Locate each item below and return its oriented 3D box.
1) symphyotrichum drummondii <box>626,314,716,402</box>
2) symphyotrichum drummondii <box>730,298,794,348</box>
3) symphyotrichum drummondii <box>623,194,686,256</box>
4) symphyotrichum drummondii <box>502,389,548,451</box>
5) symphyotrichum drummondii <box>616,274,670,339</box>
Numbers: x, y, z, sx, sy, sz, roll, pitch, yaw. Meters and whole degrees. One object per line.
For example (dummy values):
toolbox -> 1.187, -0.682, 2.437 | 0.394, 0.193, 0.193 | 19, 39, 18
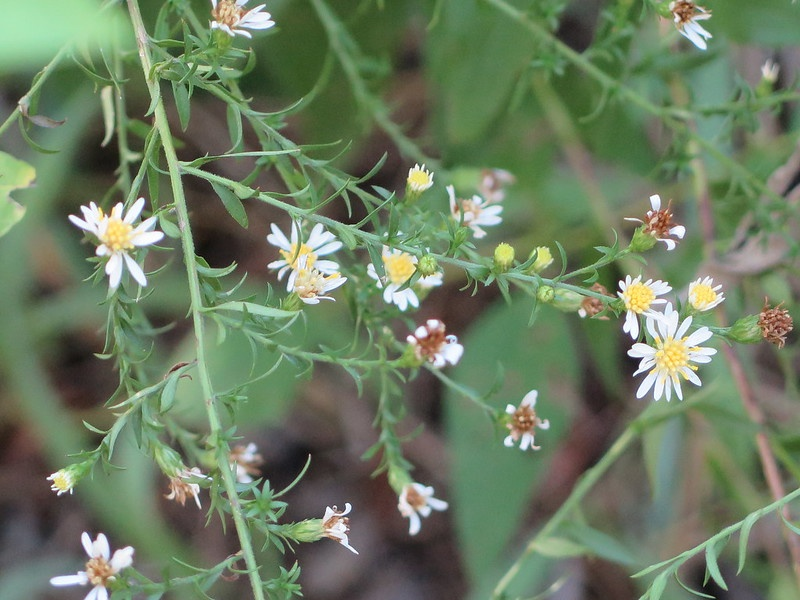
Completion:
symphyotrichum drummondii -> 0.501, 0.115, 1.571 | 0.150, 0.082, 0.205 | -7, 72, 1
symphyotrichum drummondii -> 0.789, 0.042, 1.797 | 0.127, 0.089, 0.109 | -5, 77, -5
symphyotrichum drummondii -> 0.623, -0.185, 1.990 | 0.140, 0.146, 0.105 | 24, 85, -27
symphyotrichum drummondii -> 0.244, 0.212, 1.618 | 0.071, 0.068, 0.035 | -14, 82, -37
symphyotrichum drummondii -> 0.436, -0.013, 1.534 | 0.097, 0.118, 0.054 | 5, 107, -1
